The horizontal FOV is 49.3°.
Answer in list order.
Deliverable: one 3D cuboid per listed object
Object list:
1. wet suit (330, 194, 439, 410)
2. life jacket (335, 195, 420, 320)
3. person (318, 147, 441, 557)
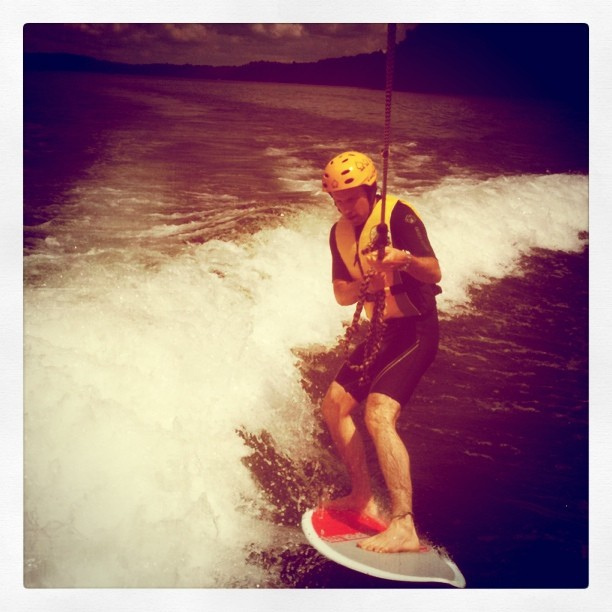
[{"bbox_3d":[0.296,-0.018,2.809,0.481,0.870,0.316,16,18,36],"label":"wet suit"},{"bbox_3d":[0.274,-0.187,2.832,0.327,0.536,0.345,8,24,13],"label":"life jacket"},{"bbox_3d":[0.317,0.202,2.778,0.449,1.615,0.669,0,15,-22],"label":"person"}]
